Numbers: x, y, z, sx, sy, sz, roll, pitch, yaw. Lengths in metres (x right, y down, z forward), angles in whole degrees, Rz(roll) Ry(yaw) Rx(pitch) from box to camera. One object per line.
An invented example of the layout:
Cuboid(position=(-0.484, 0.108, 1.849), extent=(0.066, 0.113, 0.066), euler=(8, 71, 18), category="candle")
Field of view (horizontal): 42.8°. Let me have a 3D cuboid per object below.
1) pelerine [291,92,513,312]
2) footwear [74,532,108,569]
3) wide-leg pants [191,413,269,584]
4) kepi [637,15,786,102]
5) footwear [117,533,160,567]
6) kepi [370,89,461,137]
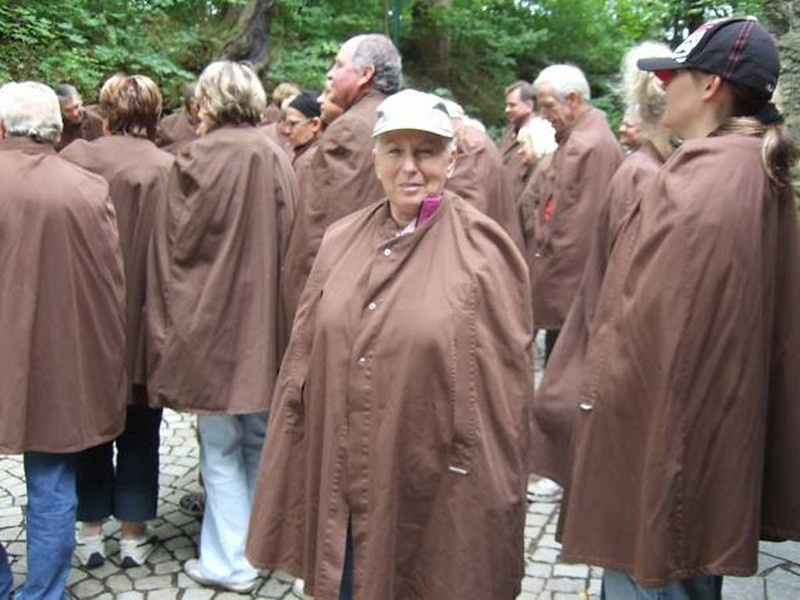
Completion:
Cuboid(position=(0.057, -0.553, 5.845), extent=(1.600, 1.508, 1.050), euler=(-2, 7, -11), category="pelerine")
Cuboid(position=(-1.760, 1.409, 5.764), extent=(0.101, 0.116, 0.266), euler=(-2, 8, -22), category="footwear")
Cuboid(position=(-0.949, 1.045, 5.634), extent=(0.368, 1.078, 0.282), euler=(25, -28, -38), category="wide-leg pants")
Cuboid(position=(1.319, -1.057, 4.328), extent=(0.625, 0.342, 0.410), euler=(14, 13, 12), category="kepi")
Cuboid(position=(-1.491, 1.400, 5.794), extent=(0.094, 0.122, 0.265), euler=(0, 14, 14), category="footwear")
Cuboid(position=(0.101, -0.760, 4.186), extent=(0.193, 0.130, 0.252), euler=(3, -2, 20), category="kepi")
